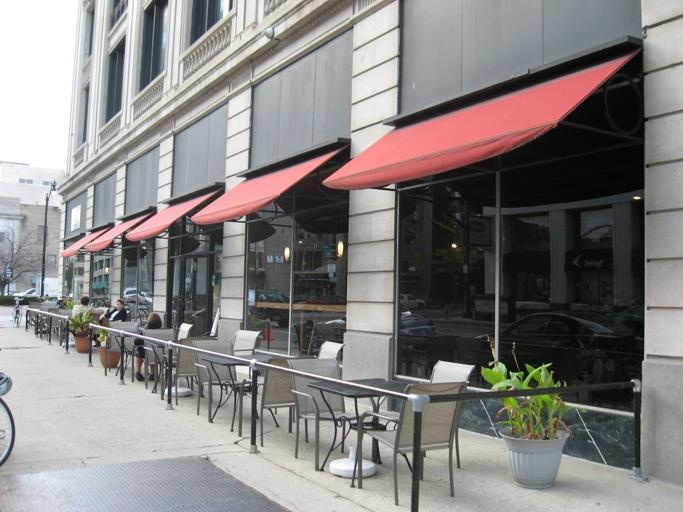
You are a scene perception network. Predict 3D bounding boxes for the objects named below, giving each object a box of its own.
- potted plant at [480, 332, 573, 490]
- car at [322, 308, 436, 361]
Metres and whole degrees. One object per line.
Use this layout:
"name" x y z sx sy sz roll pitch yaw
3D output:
"potted plant" 2.359 1.867 7.878 1.202 1.827 1.205 -9 -12 27
"car" 0.536 1.377 11.650 1.873 0.628 0.802 -1 -6 18
